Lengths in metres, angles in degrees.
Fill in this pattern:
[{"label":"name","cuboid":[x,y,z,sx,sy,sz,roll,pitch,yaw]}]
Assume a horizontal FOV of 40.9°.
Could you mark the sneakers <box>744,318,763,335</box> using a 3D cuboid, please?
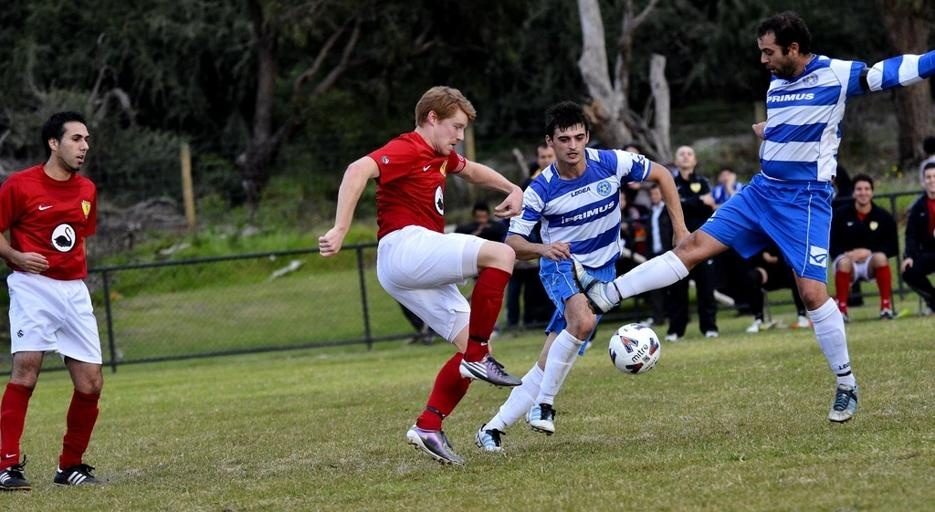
[{"label":"sneakers","cuboid":[5.347,1.366,23.478,0.165,0.189,0.454,-1,10,41]}]
